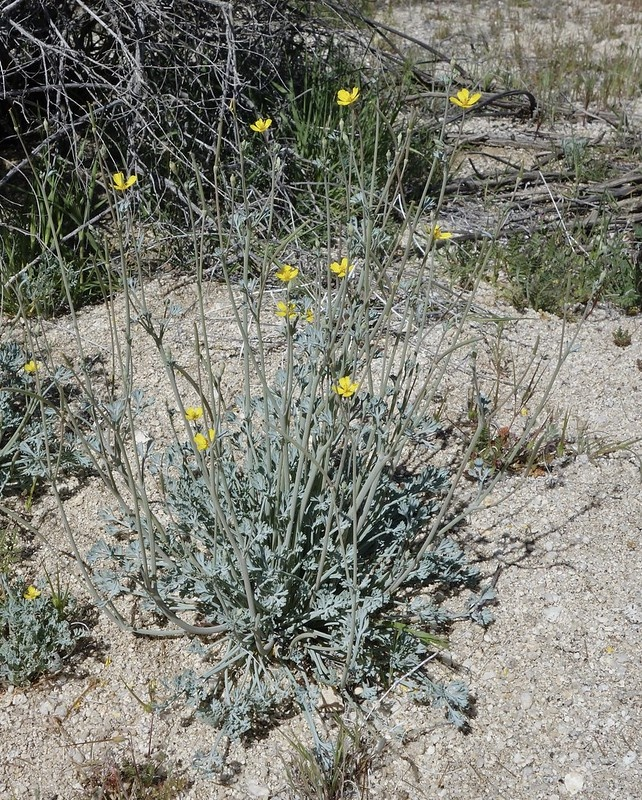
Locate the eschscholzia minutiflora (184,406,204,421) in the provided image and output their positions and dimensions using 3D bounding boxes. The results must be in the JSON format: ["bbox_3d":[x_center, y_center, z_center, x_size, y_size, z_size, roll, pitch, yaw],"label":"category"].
[{"bbox_3d":[-0.363,0.043,2.365,0.040,0.024,0.040,-29,43,-29],"label":"eschscholzia minutiflora"}]

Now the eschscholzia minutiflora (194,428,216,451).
[{"bbox_3d":[-0.302,0.113,2.156,0.063,0.030,0.072,-22,31,6],"label":"eschscholzia minutiflora"}]

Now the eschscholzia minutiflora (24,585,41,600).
[{"bbox_3d":[-0.873,0.586,2.491,0.066,0.032,0.066,-5,-2,-24],"label":"eschscholzia minutiflora"}]
